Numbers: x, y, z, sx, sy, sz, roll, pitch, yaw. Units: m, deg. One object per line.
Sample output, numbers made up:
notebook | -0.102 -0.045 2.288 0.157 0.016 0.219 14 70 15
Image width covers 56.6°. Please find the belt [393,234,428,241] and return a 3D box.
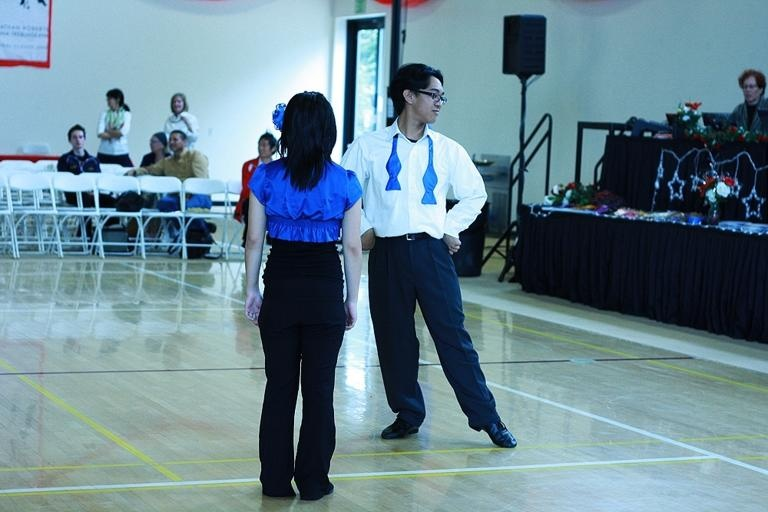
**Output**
belt | 0.170 -0.112 4.128 0.191 0.045 0.028 2 10 1

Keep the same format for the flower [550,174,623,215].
flower | 2.390 -0.676 8.460 0.545 0.272 0.497 17 -7 -8

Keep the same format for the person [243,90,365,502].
person | -0.408 0.222 3.564 0.568 2.031 0.297 1 10 -4

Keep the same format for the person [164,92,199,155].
person | -3.719 -2.166 12.921 0.598 1.500 0.492 10 13 19

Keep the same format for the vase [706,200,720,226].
vase | 3.353 -0.445 7.247 0.108 0.231 0.163 6 11 24

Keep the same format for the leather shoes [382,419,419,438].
leather shoes | 0.103 1.073 4.436 0.214 0.092 0.114 4 -5 -14

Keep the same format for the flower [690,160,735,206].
flower | 3.405 -0.757 7.453 0.418 0.483 0.477 -1 2 -1

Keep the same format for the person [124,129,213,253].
person | -3.220 -1.020 10.955 1.236 1.792 0.993 -4 3 7

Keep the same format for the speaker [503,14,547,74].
speaker | 1.978 -2.948 10.071 0.584 0.880 0.321 3 10 9
